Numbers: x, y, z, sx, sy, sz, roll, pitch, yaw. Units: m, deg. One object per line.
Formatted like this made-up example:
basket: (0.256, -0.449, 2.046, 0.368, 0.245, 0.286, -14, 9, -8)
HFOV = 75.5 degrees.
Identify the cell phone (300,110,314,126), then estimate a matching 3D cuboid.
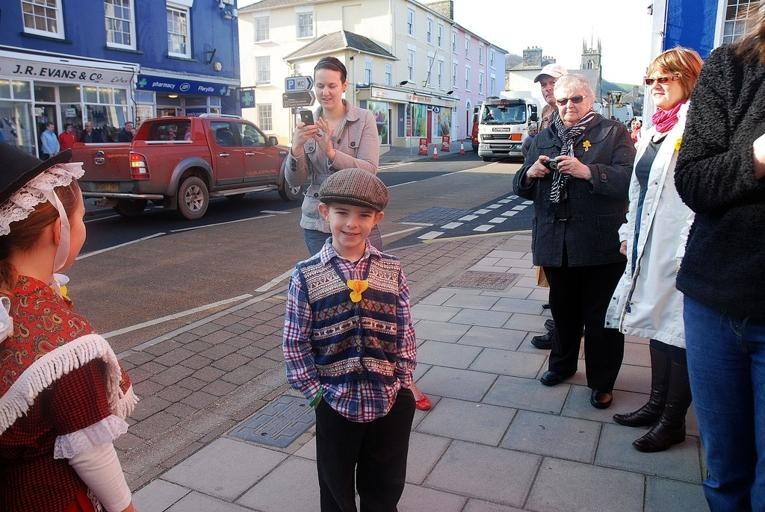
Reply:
cell phone: (-0.555, -1.009, 3.606, 0.090, 0.107, 0.168, -4, 15, -10)

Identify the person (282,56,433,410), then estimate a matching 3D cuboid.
person: (-0.244, -0.212, 3.956, 1.046, 2.553, 0.903, 0, 16, -5)

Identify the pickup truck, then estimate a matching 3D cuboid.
pickup truck: (-4.539, -2.298, 14.408, 3.409, 2.774, 7.658, 8, 16, 32)
